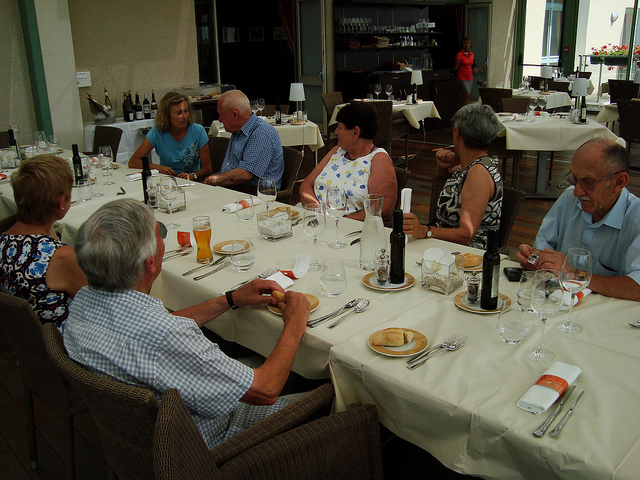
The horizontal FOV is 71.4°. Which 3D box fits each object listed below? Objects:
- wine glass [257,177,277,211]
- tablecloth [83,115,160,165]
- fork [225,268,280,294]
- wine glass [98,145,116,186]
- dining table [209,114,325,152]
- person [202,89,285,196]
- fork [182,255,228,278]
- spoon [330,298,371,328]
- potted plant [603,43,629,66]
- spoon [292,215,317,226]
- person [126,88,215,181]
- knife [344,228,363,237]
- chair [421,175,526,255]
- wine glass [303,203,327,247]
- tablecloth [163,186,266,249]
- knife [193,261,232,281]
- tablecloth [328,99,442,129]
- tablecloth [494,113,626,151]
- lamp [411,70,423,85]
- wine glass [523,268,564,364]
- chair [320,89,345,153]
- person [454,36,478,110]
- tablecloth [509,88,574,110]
[{"bbox_3d":[-0.311,-0.229,2.628,0.113,0.297,0.111,-5,26,-15],"label":"wine glass"},{"bbox_3d":[-2.883,-1.372,6.565,0.989,0.812,0.662,-6,-1,-25],"label":"tablecloth"},{"bbox_3d":[-0.285,0.179,1.907,0.162,0.021,0.018,-31,42,-30],"label":"fork"},{"bbox_3d":[-1.761,-0.627,3.686,0.106,0.315,0.112,-2,16,-15],"label":"wine glass"},{"bbox_3d":[-0.422,-1.635,6.377,1.009,0.296,1.074,-10,29,-19],"label":"dining table"},{"bbox_3d":[-0.686,-0.603,3.999,0.630,1.346,0.584,-16,27,-39],"label":"person"},{"bbox_3d":[-0.540,0.131,2.107,0.024,0.019,0.212,25,35,35],"label":"fork"},{"bbox_3d":[0.114,0.265,1.684,0.039,0.026,0.199,8,36,42],"label":"spoon"},{"bbox_3d":[6.970,-4.389,10.547,0.474,0.358,0.541,7,29,17],"label":"potted plant"},{"bbox_3d":[-0.081,-0.101,2.349,0.209,0.025,0.039,-18,7,44],"label":"spoon"},{"bbox_3d":[-1.401,-0.921,4.206,0.692,1.107,0.665,2,24,-1],"label":"person"},{"bbox_3d":[0.185,-0.037,2.413,0.013,0.027,0.168,-17,3,42],"label":"knife"},{"bbox_3d":[1.036,-0.159,2.871,0.517,0.659,0.508,16,24,40],"label":"chair"},{"bbox_3d":[-0.022,-0.055,2.167,0.122,0.200,0.122,-13,23,-35],"label":"wine glass"},{"bbox_3d":[-0.687,-0.146,2.765,0.386,0.143,0.548,-21,39,-30],"label":"tablecloth"},{"bbox_3d":[-0.495,0.148,2.066,0.020,0.014,0.184,12,26,33],"label":"knife"},{"bbox_3d":[1.466,-2.123,7.449,0.979,0.445,2.012,5,18,16],"label":"tablecloth"},{"bbox_3d":[2.991,-1.392,5.614,1.353,0.297,1.466,-1,30,-9],"label":"tablecloth"},{"bbox_3d":[1.841,-3.100,8.440,0.232,0.292,0.244,-7,12,-21],"label":"lamp"},{"bbox_3d":[0.751,0.250,1.489,0.090,0.283,0.104,1,7,0],"label":"wine glass"},{"bbox_3d":[0.265,-2.112,7.737,0.487,0.724,0.506,-28,40,-9],"label":"chair"},{"bbox_3d":[3.451,-3.830,10.455,0.424,1.778,0.465,-7,23,0],"label":"person"},{"bbox_3d":[3.997,-2.499,7.856,1.275,0.335,0.666,-6,18,-17],"label":"tablecloth"}]
